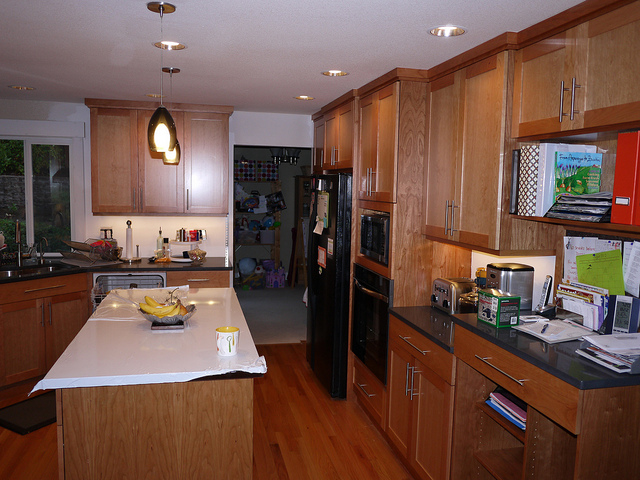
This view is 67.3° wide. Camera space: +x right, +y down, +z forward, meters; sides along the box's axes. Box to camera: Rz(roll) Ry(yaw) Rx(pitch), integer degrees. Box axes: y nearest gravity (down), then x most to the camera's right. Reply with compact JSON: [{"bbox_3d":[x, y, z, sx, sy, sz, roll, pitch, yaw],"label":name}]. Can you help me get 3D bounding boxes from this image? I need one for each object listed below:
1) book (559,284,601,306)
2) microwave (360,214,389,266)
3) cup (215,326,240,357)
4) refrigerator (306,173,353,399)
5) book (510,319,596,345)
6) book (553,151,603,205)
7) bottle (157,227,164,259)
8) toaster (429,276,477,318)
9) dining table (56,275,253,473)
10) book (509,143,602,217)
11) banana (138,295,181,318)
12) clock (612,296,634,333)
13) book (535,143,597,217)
[{"bbox_3d":[1.502,0.312,2.784,0.018,0.061,0.259,-4,12,-26],"label":"book"},{"bbox_3d":[0.451,-0.005,3.944,0.232,0.308,0.412,2,3,-13],"label":"microwave"},{"bbox_3d":[-0.511,0.567,2.692,0.132,0.130,0.172,0,-2,13],"label":"cup"},{"bbox_3d":[0.084,0.380,4.615,0.300,2.063,0.793,-1,11,-11],"label":"refrigerator"},{"bbox_3d":[1.302,0.505,2.729,0.271,0.059,0.358,-2,11,-21],"label":"book"},{"bbox_3d":[1.431,-0.346,2.695,0.324,0.320,0.047,0,2,-13],"label":"book"},{"bbox_3d":[-1.767,0.023,5.315,0.073,0.288,0.364,-2,11,-19],"label":"bottle"},{"bbox_3d":[0.982,0.409,3.572,0.220,0.279,0.324,-1,11,-11],"label":"toaster"},{"bbox_3d":[-0.994,0.749,3.215,1.002,0.780,1.633,-1,11,-13],"label":"dining table"},{"bbox_3d":[1.361,-0.342,2.767,0.499,0.420,0.254,4,11,15],"label":"book"},{"bbox_3d":[-1.018,0.436,3.105,0.152,0.081,0.204,2,11,-13],"label":"banana"},{"bbox_3d":[1.607,0.396,2.556,0.075,0.183,0.034,8,13,33],"label":"clock"},{"bbox_3d":[1.357,-0.327,2.682,0.428,0.514,0.074,0,3,-16],"label":"book"}]
